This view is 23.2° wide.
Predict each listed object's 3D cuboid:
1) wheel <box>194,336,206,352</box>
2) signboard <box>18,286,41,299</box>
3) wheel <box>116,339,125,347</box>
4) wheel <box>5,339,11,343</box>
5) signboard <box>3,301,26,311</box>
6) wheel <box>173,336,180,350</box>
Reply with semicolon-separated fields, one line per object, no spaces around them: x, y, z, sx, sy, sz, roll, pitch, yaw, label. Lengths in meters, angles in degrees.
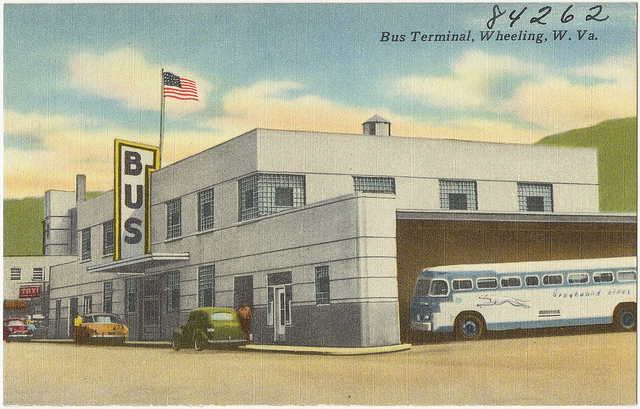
-5.172;6.065;67.704;0.488;0.680;0.332;-1;-9;-4;wheel
-12.825;3.932;69.331;0.307;0.660;1.863;-4;-10;17;signboard
-8.804;6.167;69.463;0.311;0.373;0.966;0;-10;-8;wheel
-13.480;5.954;67.772;0.254;0.143;0.069;-2;-9;0;wheel
-13.298;4.437;68.536;0.274;0.461;1.429;-7;-11;30;signboard
-6.220;6.063;67.962;0.273;0.583;0.372;-1;-9;-6;wheel
